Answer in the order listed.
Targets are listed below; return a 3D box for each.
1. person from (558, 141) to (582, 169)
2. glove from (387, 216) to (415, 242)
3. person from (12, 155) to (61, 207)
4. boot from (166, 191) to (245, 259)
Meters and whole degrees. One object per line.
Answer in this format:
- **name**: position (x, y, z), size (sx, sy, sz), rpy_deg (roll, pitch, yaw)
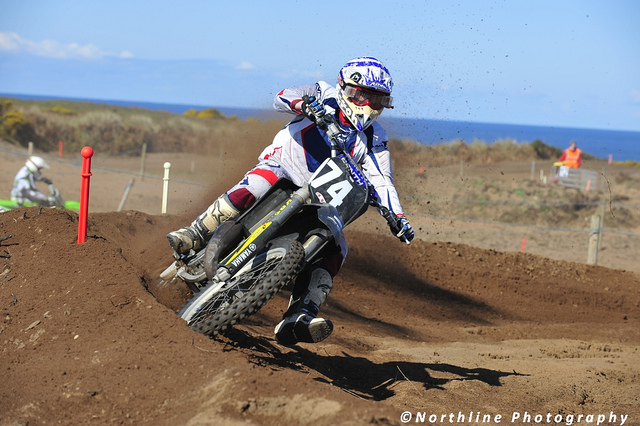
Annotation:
- **person**: position (7.504, -1.731, 21.887), size (0.550, 0.798, 0.473), rpy_deg (10, 11, 15)
- **glove**: position (1.178, 0.235, 10.632), size (0.364, 0.398, 0.342), rpy_deg (9, 11, 10)
- **person**: position (-5.624, -0.592, 14.578), size (0.764, 0.917, 0.636), rpy_deg (-1, 13, -35)
- **boot**: position (-1.552, 0.232, 10.806), size (1.228, 0.545, 0.708), rpy_deg (-41, 39, -6)
